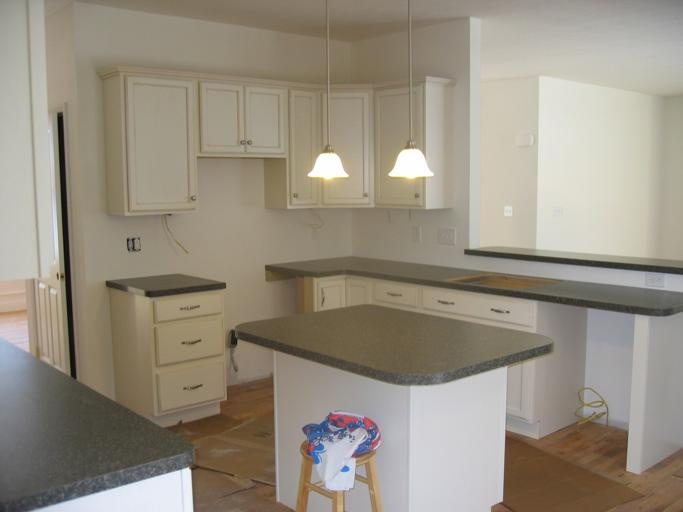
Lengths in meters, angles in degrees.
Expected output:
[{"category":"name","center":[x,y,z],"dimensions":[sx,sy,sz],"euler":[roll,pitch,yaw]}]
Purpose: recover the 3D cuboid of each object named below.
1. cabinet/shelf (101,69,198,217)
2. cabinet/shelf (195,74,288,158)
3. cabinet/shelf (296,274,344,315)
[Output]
[{"category":"cabinet/shelf","center":[-1.401,-0.829,4.141],"dimensions":[0.707,1.009,0.341],"euler":[-3,11,-15]},{"category":"cabinet/shelf","center":[-0.804,-1.098,4.384],"dimensions":[0.268,0.535,0.703],"euler":[3,3,45]},{"category":"cabinet/shelf","center":[-0.230,0.303,4.888],"dimensions":[0.326,0.492,0.311],"euler":[-2,3,-39]}]
